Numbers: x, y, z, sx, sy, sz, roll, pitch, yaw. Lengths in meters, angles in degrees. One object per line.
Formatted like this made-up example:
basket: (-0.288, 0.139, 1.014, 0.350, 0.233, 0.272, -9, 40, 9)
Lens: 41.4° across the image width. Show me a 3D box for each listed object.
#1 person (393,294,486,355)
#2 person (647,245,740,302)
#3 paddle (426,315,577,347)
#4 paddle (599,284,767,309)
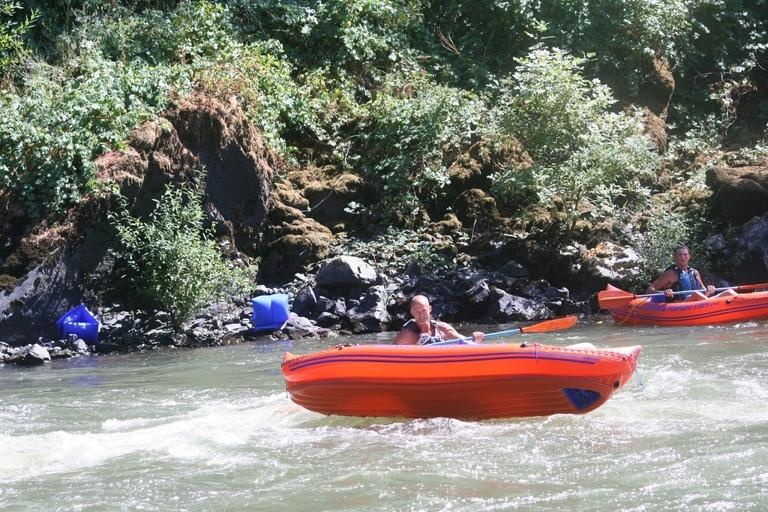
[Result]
person: (0.714, 1.285, 17.714, 1.591, 0.923, 0.846, -5, -9, -38)
person: (6.680, 0.413, 22.130, 1.664, 1.092, 1.198, -3, -2, 43)
paddle: (2.338, 1.491, 19.861, 2.918, 0.273, 0.190, -8, -32, -11)
paddle: (6.429, 0.903, 21.847, 2.279, 0.240, 0.373, -5, 13, 13)
